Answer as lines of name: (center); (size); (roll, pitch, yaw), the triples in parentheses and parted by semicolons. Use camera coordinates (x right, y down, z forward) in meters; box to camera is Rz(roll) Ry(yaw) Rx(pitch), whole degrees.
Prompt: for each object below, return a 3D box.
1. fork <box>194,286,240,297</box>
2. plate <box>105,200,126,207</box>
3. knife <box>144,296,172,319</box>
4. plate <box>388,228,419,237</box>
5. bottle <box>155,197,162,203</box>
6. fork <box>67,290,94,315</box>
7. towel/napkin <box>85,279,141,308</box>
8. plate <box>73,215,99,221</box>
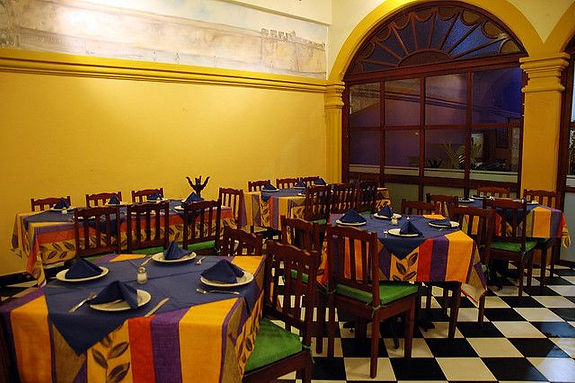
fork: (-0.578, 0.824, 3.579); (0.298, 0.036, 0.049); (2, 32, 4)
plate: (-2.259, 0.137, 5.680); (0.178, 0.076, 0.179); (-1, 6, -10)
knife: (-1.019, 0.898, 3.442); (0.051, 0.018, 0.375); (15, 21, 15)
plate: (1.223, 0.441, 4.686); (0.206, 0.061, 0.318); (-6, 7, -40)
bottle: (-1.799, 0.113, 6.027); (0.072, 0.050, 0.073); (-1, 3, 0)
fork: (-1.645, 0.884, 3.498); (0.053, 0.043, 0.305); (20, 20, 10)
towel/napkin: (-1.356, 0.765, 3.417); (0.256, 0.113, 0.259); (3, 5, -38)
plate: (-2.320, 0.297, 5.013); (0.152, 0.031, 0.154); (0, 6, 4)
